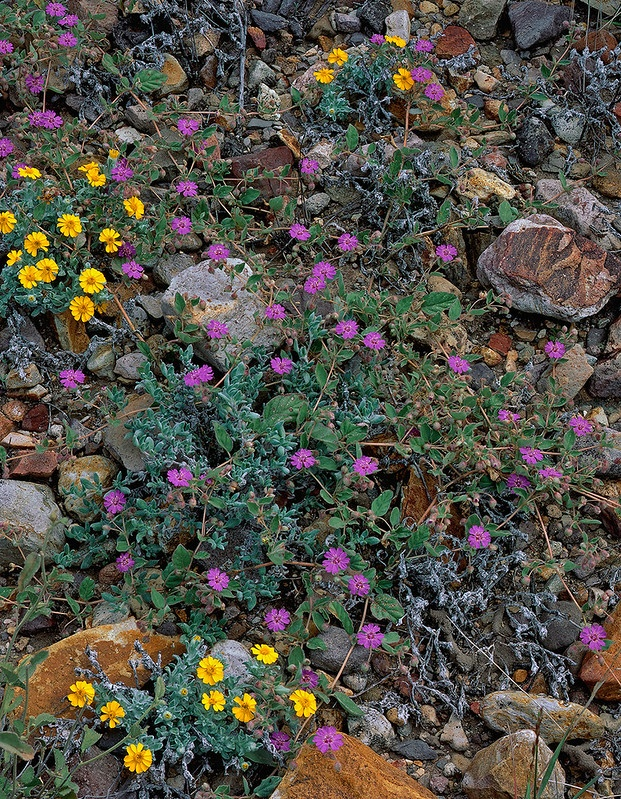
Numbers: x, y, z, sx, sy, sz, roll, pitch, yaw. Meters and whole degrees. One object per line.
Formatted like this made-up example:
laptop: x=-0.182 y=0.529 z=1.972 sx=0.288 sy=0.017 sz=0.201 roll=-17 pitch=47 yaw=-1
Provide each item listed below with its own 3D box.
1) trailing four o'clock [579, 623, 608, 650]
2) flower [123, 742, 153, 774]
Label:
trailing four o'clock: x=0.981 y=0.815 z=2.744 sx=0.099 sy=0.027 sz=0.098 roll=33 pitch=75 yaw=-3
flower: x=-0.530 y=1.101 z=2.443 sx=0.080 sy=0.111 sz=0.075 roll=8 pitch=46 yaw=-8
